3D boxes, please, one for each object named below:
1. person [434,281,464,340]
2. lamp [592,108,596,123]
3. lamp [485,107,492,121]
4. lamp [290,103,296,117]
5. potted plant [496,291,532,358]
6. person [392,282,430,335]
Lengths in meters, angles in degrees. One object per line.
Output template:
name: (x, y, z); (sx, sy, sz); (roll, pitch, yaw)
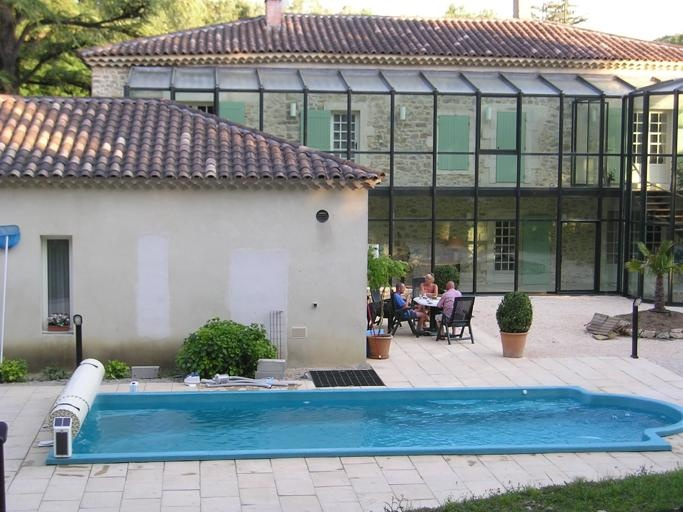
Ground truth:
person: (2.897, 1.466, 19.112); (0.567, 1.503, 0.923); (-1, 2, -3)
lamp: (8.985, -4.977, 25.300); (0.202, 0.422, 0.057); (-2, 2, -19)
lamp: (5.197, -5.003, 25.087); (0.209, 0.420, 0.057); (0, 2, 10)
lamp: (-1.623, -4.985, 24.417); (0.256, 0.486, 0.101); (-1, 2, -3)
potted plant: (4.228, 1.696, 17.382); (0.800, 1.588, 0.478); (0, 2, 30)
person: (1.916, 1.479, 19.863); (0.903, 1.400, 1.065); (-2, 1, 9)
